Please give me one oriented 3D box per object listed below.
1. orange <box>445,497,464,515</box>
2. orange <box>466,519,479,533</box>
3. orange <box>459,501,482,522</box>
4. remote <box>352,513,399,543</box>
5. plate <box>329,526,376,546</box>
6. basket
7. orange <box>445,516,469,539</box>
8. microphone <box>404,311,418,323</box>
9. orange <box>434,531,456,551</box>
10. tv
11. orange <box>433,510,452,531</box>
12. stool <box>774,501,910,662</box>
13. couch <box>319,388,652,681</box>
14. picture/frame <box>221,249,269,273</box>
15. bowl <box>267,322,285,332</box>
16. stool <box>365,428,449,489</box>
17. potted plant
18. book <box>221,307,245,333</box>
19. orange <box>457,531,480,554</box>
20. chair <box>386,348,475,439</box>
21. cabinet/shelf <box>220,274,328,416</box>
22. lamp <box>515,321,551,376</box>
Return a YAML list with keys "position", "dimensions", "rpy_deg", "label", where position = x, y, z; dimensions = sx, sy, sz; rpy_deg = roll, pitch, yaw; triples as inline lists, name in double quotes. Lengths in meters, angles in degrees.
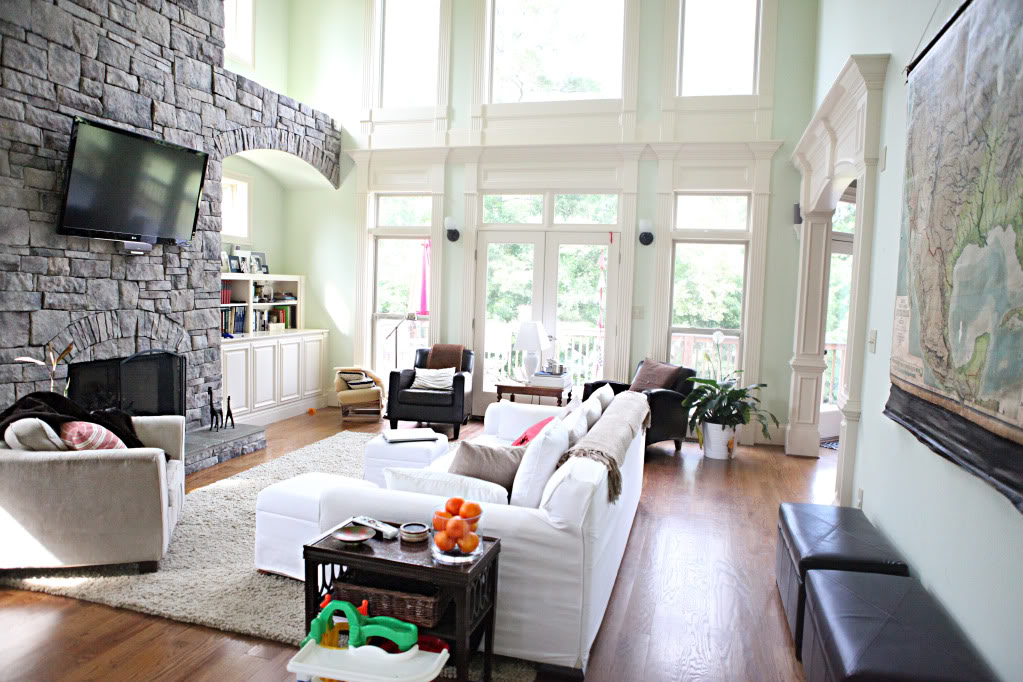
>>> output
- position: [-0.317, 0.896, 3.629]
  dimensions: [0.083, 0.082, 0.084]
  rpy_deg: [-1, -4, -25]
  label: "orange"
- position: [-0.212, 0.980, 3.549]
  dimensions: [0.069, 0.068, 0.070]
  rpy_deg: [4, 7, 0]
  label: "orange"
- position: [-0.224, 0.900, 3.586]
  dimensions: [0.098, 0.098, 0.099]
  rpy_deg: [-21, 16, -21]
  label: "orange"
- position: [-0.749, 1.014, 3.667]
  dimensions: [0.223, 0.054, 0.118]
  rpy_deg: [9, 4, 25]
  label: "remote"
- position: [-0.854, 1.037, 3.583]
  dimensions: [0.120, 0.032, 0.120]
  rpy_deg: [5, 9, 3]
  label: "plate"
- position: [-0.648, 1.367, 3.555]
  dimensions: [0.431, 0.135, 0.304]
  rpy_deg: [2, -2, 26]
  label: "basket"
- position: [-0.283, 0.964, 3.465]
  dimensions: [0.108, 0.102, 0.108]
  rpy_deg: [3, 9, 3]
  label: "orange"
- position: [-1.271, -0.307, 8.403]
  dimensions: [0.130, 0.096, 0.103]
  rpy_deg: [4, -5, -27]
  label: "microphone"
- position: [-0.347, 1.030, 3.469]
  dimensions: [0.094, 0.095, 0.093]
  rpy_deg: [16, 9, 7]
  label: "orange"
- position: [-3.313, -1.355, 5.717]
  dimensions: [0.100, 1.054, 1.489]
  rpy_deg: [19, 7, 26]
  label: "tv"
- position: [-0.379, 0.938, 3.510]
  dimensions: [0.095, 0.088, 0.096]
  rpy_deg: [-2, -6, 39]
  label: "orange"
- position: [1.978, 1.264, 4.138]
  dimensions: [0.620, 0.718, 1.103]
  rpy_deg: [3, 4, 7]
  label: "stool"
- position: [-0.044, 0.737, 4.158]
  dimensions: [1.282, 0.909, 2.122]
  rpy_deg: [3, 2, 18]
  label: "couch"
- position: [-3.209, -0.979, 8.056]
  dimensions: [0.290, 0.316, 0.680]
  rpy_deg: [0, 4, 9]
  label: "picture/frame"
- position: [-2.837, -0.166, 7.994]
  dimensions: [0.125, 0.078, 0.126]
  rpy_deg: [1, 7, 0]
  label: "bowl"
- position: [-0.944, 0.963, 5.657]
  dimensions: [0.446, 0.378, 0.451]
  rpy_deg: [1, 2, 7]
  label: "stool"
- position: [2.212, 0.442, 7.104]
  dimensions: [1.220, 1.645, 1.355]
  rpy_deg: [2, 3, 26]
  label: "potted plant"
- position: [-3.147, -0.248, 7.531]
  dimensions: [0.206, 0.355, 0.256]
  rpy_deg: [7, 7, 33]
  label: "book"
- position: [-0.226, 1.041, 3.475]
  dimensions: [0.100, 0.103, 0.108]
  rpy_deg: [-4, 0, 9]
  label: "orange"
- position: [-0.909, 0.547, 7.776]
  dimensions: [0.835, 1.063, 1.041]
  rpy_deg: [0, -2, 10]
  label: "chair"
- position: [-2.846, 0.079, 7.823]
  dimensions: [0.543, 1.619, 1.728]
  rpy_deg: [0, 1, 11]
  label: "cabinet/shelf"
- position: [0.217, 0.084, 7.529]
  dimensions: [0.340, 0.641, 0.762]
  rpy_deg: [-1, 5, 1]
  label: "lamp"
